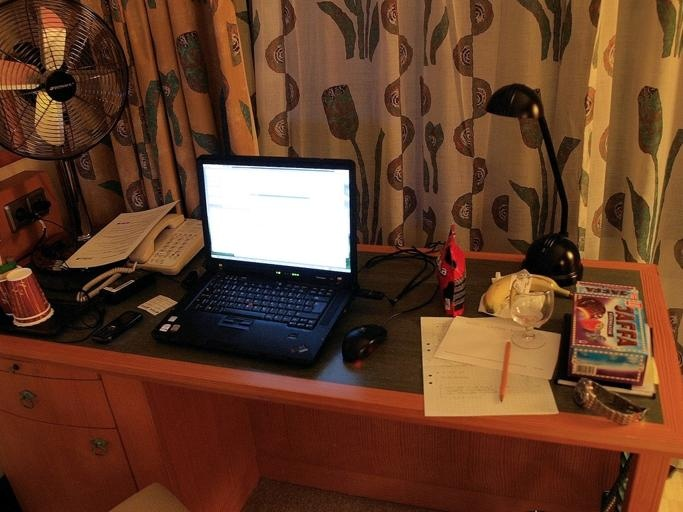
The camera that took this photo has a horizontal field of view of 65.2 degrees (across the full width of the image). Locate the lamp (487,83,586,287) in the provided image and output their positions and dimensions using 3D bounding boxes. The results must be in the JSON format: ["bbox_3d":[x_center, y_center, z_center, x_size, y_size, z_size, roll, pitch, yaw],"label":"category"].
[{"bbox_3d":[0.590,-0.207,1.515,0.264,0.525,0.455,16,23,38],"label":"lamp"}]

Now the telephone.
[{"bbox_3d":[-0.542,-0.035,1.694,0.165,0.090,0.232,10,47,22],"label":"telephone"}]

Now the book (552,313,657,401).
[{"bbox_3d":[0.633,0.202,1.210,0.172,0.037,0.171,2,37,17],"label":"book"}]

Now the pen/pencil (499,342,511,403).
[{"bbox_3d":[0.376,0.271,1.223,0.014,0.017,0.173,28,39,3],"label":"pen/pencil"}]

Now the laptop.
[{"bbox_3d":[-0.216,-0.017,1.381,0.475,0.453,0.286,7,18,15],"label":"laptop"}]

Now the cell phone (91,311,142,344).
[{"bbox_3d":[-0.603,0.185,1.430,0.054,0.029,0.123,14,33,22],"label":"cell phone"}]

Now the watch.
[{"bbox_3d":[0.569,0.313,1.137,0.112,0.041,0.079,22,36,37],"label":"watch"}]

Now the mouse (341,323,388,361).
[{"bbox_3d":[0.057,0.210,1.300,0.061,0.046,0.109,27,59,34],"label":"mouse"}]

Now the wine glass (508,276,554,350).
[{"bbox_3d":[0.473,0.148,1.335,0.099,0.159,0.098,-4,31,1],"label":"wine glass"}]
